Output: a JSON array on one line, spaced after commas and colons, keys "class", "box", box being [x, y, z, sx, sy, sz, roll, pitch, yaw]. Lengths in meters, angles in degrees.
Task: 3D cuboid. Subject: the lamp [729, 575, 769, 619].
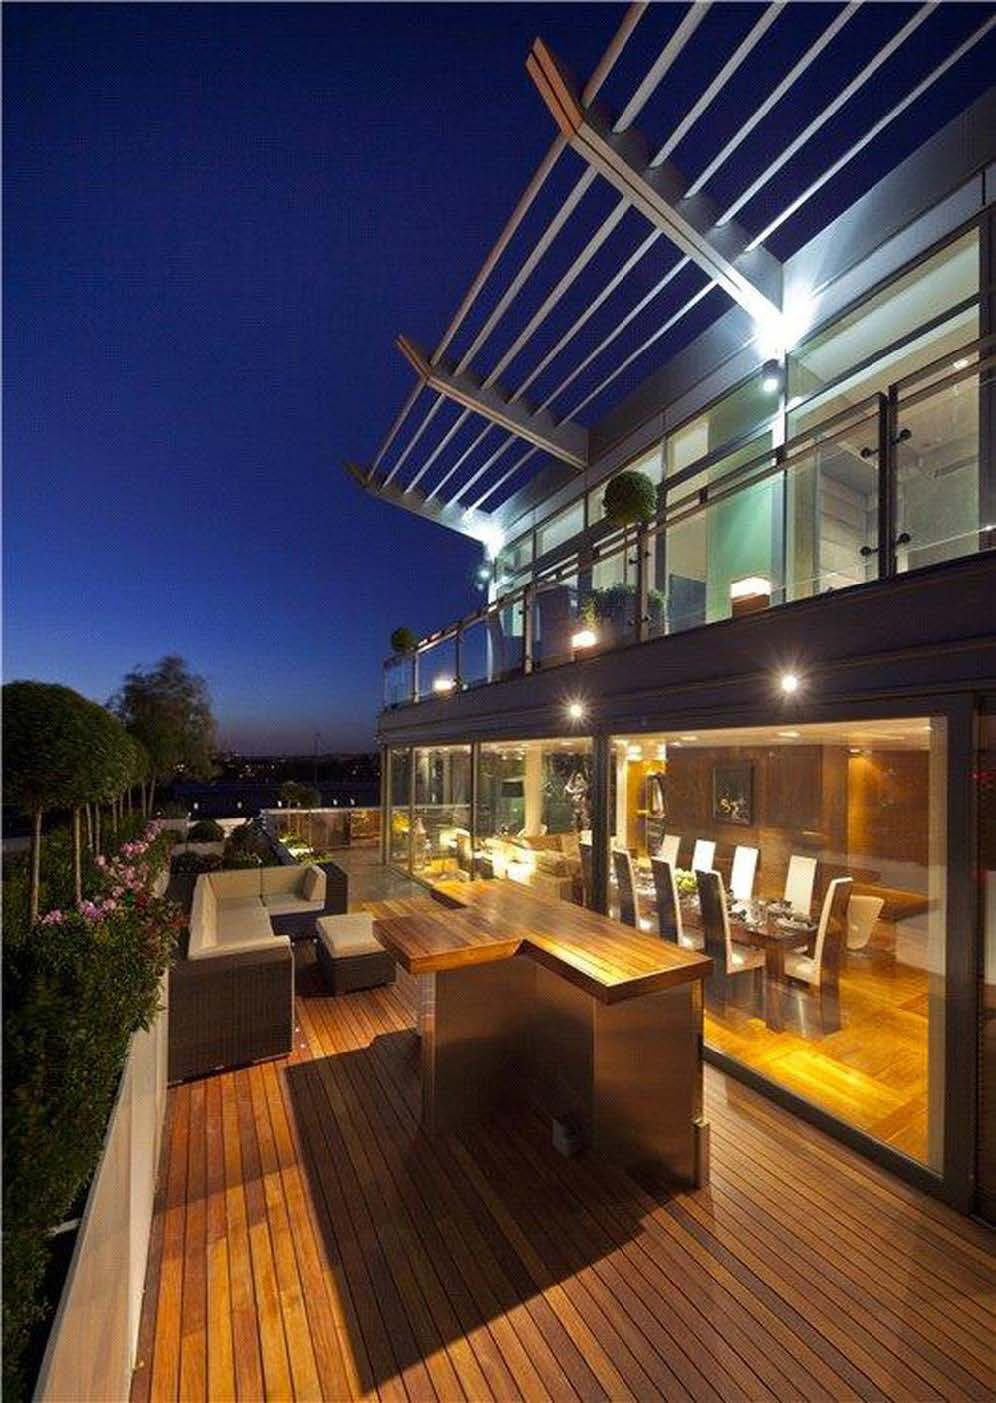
[{"class": "lamp", "box": [1.450, -0.621, 5.161, 0.081, 0.234, 0.318, -5, 12, -20]}]

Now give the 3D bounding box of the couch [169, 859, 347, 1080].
[{"class": "couch", "box": [-1.512, 1.729, 5.311, 0.791, 0.420, 1.240, -2, 5, -25]}]

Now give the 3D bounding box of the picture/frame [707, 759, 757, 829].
[{"class": "picture/frame", "box": [1.466, 0.560, 5.535, 0.049, 0.520, 0.407, -1, 3, -20]}]

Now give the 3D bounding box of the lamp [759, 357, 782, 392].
[{"class": "lamp", "box": [2.183, -2.628, 7.163, 0.123, 0.256, 0.214, -8, 13, -33]}]

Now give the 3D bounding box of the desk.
[{"class": "desk", "box": [0.062, 1.602, 4.686, 1.092, 1.182, 1.895, -9, 15, -26]}]

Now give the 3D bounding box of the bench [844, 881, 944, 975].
[{"class": "bench", "box": [1.922, 1.087, 4.292, 0.270, 0.387, 0.548, -1, 1, -16]}]
